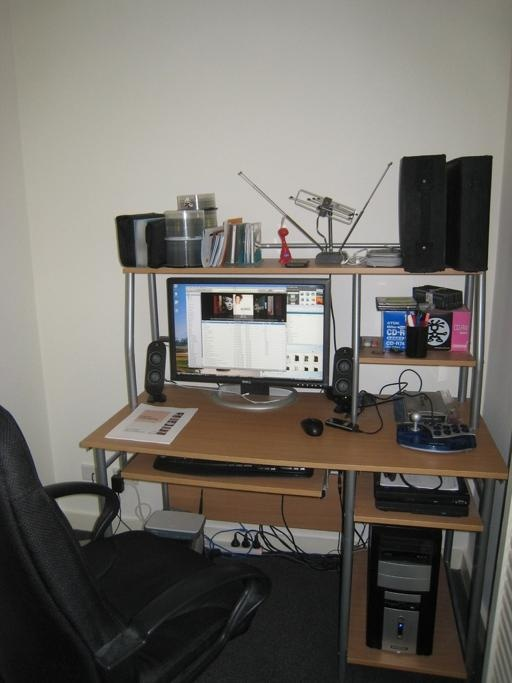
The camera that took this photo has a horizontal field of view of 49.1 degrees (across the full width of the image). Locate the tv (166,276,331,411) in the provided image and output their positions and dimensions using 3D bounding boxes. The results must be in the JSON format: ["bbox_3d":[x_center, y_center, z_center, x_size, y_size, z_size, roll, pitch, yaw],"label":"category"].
[{"bbox_3d":[-0.020,-0.004,2.054,0.470,0.362,0.138,3,14,10],"label":"tv"}]

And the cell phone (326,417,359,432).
[{"bbox_3d":[0.300,0.282,1.919,0.079,0.019,0.046,6,11,24],"label":"cell phone"}]

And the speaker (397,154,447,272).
[{"bbox_3d":[0.511,-0.388,1.710,0.141,0.406,0.362,2,2,12],"label":"speaker"}]

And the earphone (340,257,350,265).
[{"bbox_3d":[0.292,-0.273,1.881,0.019,0.013,0.032,-9,32,24],"label":"earphone"}]

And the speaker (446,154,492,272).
[{"bbox_3d":[0.632,-0.383,1.669,0.094,0.302,0.281,3,23,13],"label":"speaker"}]
